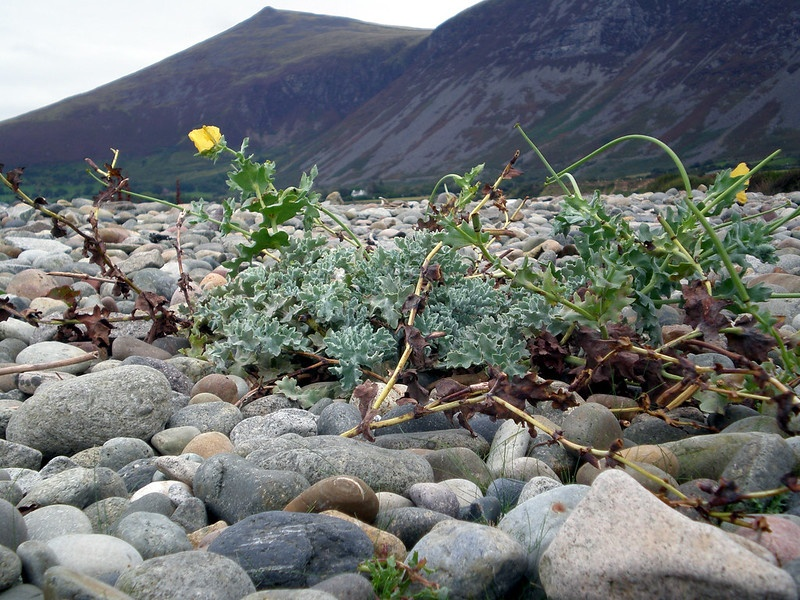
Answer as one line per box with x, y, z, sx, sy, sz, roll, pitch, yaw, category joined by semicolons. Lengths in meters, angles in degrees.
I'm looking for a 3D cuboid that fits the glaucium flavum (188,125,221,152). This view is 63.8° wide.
-1.053;-0.882;3.475;0.185;0.160;0.072;-18;14;-26;glaucium flavum
